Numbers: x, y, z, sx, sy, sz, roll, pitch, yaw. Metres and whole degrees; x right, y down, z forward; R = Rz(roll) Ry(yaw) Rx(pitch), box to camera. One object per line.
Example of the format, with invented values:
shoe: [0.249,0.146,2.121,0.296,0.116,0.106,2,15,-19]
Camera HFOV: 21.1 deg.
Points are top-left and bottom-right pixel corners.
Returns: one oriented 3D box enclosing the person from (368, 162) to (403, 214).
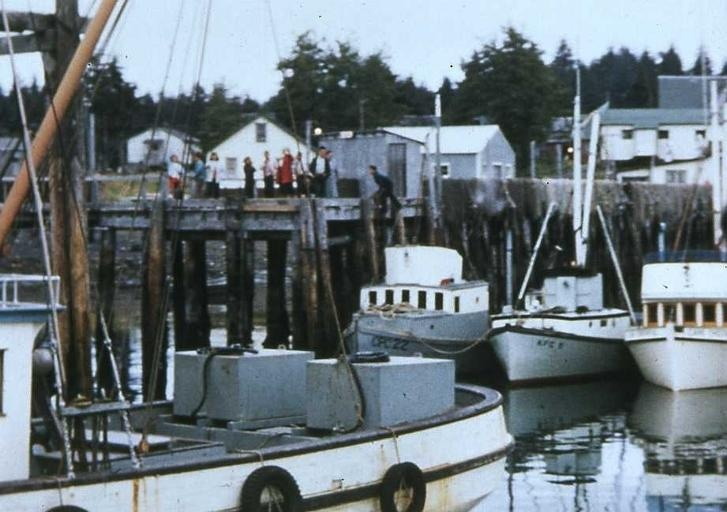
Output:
person: [0.754,-2.311,69.042,0.928,0.684,2.142,-1,-25,17]
